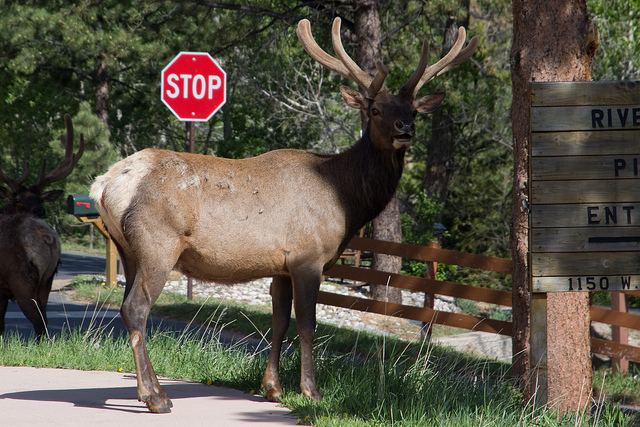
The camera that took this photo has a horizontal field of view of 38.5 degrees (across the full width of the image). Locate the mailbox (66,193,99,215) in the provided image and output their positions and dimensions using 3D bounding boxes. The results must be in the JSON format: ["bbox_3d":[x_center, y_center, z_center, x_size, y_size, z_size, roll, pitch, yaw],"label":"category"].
[{"bbox_3d":[-5.892,-0.241,22.507,0.673,0.480,0.439,5,-2,-15],"label":"mailbox"}]

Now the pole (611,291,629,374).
[{"bbox_3d":[5.811,2.270,17.735,0.366,1.562,0.780,3,-2,20],"label":"pole"}]

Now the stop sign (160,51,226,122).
[{"bbox_3d":[-2.750,-2.748,19.650,1.257,1.317,0.794,5,-2,-15],"label":"stop sign"}]
